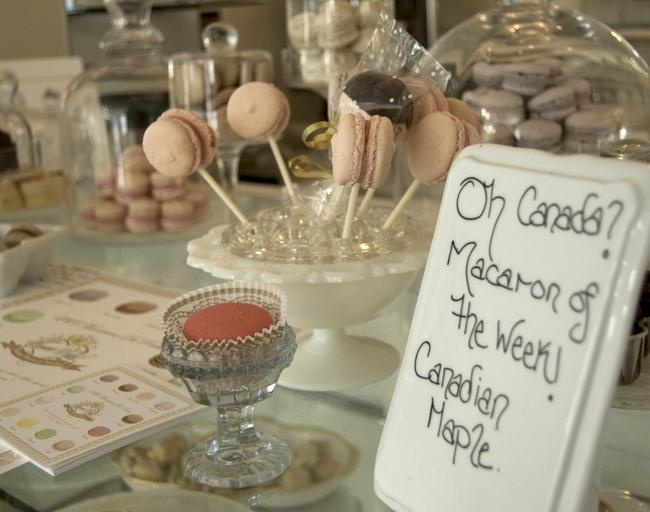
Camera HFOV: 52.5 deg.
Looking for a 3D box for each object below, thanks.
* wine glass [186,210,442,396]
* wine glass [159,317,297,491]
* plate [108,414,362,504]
[{"bbox_3d":[0.002,0.050,0.754,0.278,0.153,0.269,8,20,39],"label":"wine glass"},{"bbox_3d":[-0.081,0.129,0.591,0.120,0.121,0.116,-8,5,-44],"label":"wine glass"},{"bbox_3d":[-0.075,0.184,0.581,0.104,0.016,0.089,6,17,16],"label":"plate"}]
